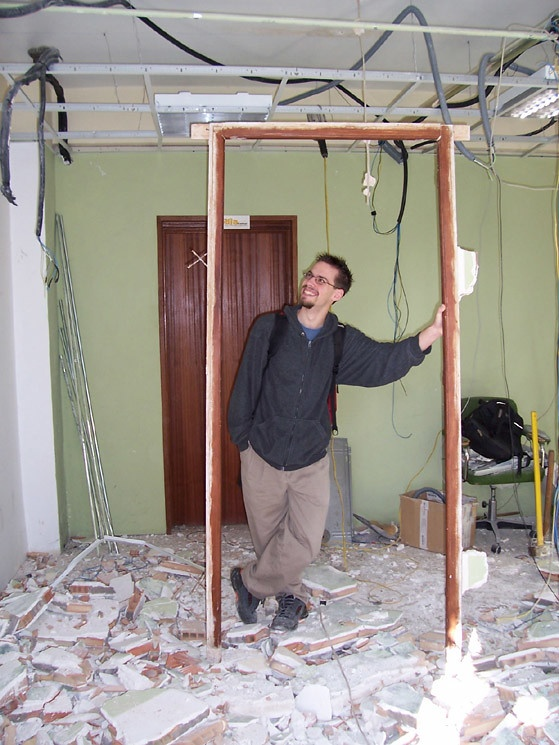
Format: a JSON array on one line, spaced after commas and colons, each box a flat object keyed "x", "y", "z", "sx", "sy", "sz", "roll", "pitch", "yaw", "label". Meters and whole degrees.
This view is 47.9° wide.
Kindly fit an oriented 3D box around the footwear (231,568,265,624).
[{"x": -0.148, "y": 1.006, "z": 2.886, "sx": 0.111, "sy": 0.277, "sz": 0.101, "roll": -31, "pitch": -19, "yaw": 21, "label": "footwear"}]

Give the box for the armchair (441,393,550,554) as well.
[{"x": 1.371, "y": 0.609, "z": 4.056, "sx": 0.603, "sy": 0.852, "sz": 0.536, "roll": 1, "pitch": 4, "yaw": 5, "label": "armchair"}]

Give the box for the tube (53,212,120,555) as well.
[{"x": -1.204, "y": 0.019, "z": 3.930, "sx": 0.250, "sy": 2.020, "sz": 0.460, "roll": -5, "pitch": 8, "yaw": -30, "label": "tube"}]

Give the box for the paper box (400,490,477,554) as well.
[{"x": 1.066, "y": 0.930, "z": 3.980, "sx": 0.430, "sy": 0.322, "sz": 0.440, "roll": -12, "pitch": -6, "yaw": 21, "label": "paper box"}]

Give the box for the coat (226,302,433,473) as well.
[{"x": 0.231, "y": 0.047, "z": 3.256, "sx": 1.112, "sy": 0.910, "sz": 0.519, "roll": 4, "pitch": 7, "yaw": -14, "label": "coat"}]
